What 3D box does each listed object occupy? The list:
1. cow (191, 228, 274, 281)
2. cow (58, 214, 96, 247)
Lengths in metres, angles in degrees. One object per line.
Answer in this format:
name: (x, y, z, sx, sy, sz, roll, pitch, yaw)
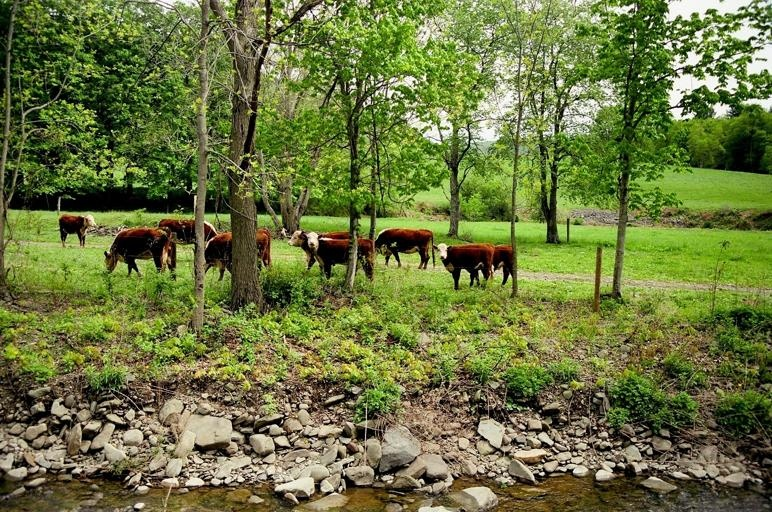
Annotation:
cow: (-5.768, -0.004, 28.668, 3.435, 2.172, 3.284, 0, 3, -45)
cow: (-16.319, -1.261, 36.441, 2.271, 1.653, 0.660, -1, 2, 17)
